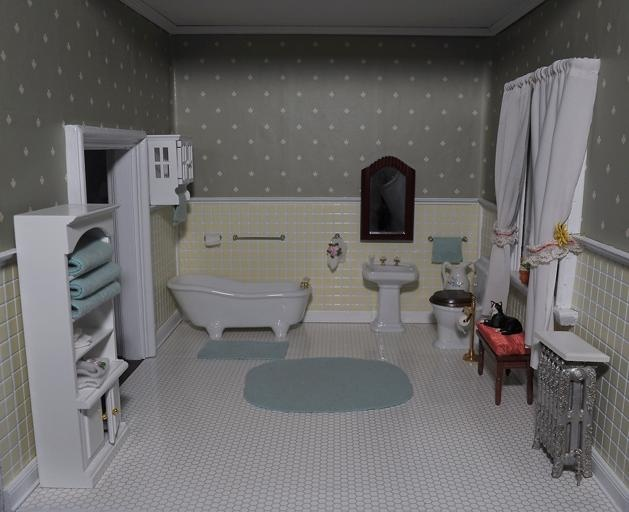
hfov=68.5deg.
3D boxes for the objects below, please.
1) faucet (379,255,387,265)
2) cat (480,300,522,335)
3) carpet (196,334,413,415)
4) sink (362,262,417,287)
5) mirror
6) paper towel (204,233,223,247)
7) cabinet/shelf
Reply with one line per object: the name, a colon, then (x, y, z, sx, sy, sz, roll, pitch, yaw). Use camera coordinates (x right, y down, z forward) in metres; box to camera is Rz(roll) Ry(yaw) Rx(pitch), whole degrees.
faucet: (0.882, 0.048, 5.971, 0.079, 0.124, 0.086, 1, 15, 6)
cat: (1.730, 0.581, 4.236, 0.303, 0.258, 0.239, 11, 13, 35)
carpet: (-0.099, 1.202, 4.683, 2.157, 0.028, 1.388, 3, 13, 12)
sink: (0.945, 0.243, 5.795, 0.669, 0.263, 0.442, 2, 13, 8)
mirror: (0.916, -0.796, 5.842, 0.827, 1.615, 0.125, 0, 10, -1)
paper towel: (-1.335, -0.199, 6.010, 0.262, 0.189, 0.149, -1, 12, -6)
cabinet/shelf: (-1.662, 0.597, 3.234, 0.442, 1.843, 0.613, 1, 11, 7)
